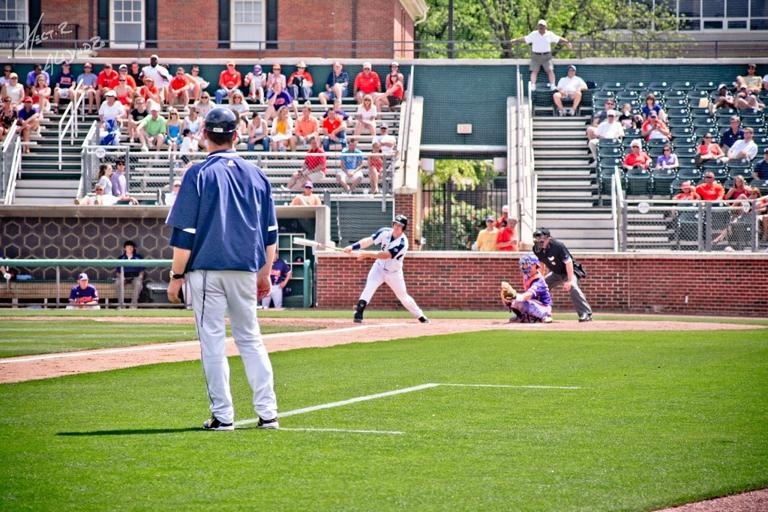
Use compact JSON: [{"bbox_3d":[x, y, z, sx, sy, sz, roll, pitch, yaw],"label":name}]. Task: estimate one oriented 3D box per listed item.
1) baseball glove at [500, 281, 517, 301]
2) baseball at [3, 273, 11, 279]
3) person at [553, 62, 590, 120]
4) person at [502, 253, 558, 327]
[{"bbox_3d":[3.450,1.018,45.757,0.255,0.537,0.459,-22,11,-2],"label":"baseball glove"},{"bbox_3d":[-11.149,0.630,48.922,0.225,0.085,0.226,6,5,42],"label":"baseball"},{"bbox_3d":[6.674,-5.749,58.643,0.900,2.142,1.132,1,0,8],"label":"person"},{"bbox_3d":[4.008,0.940,45.798,1.143,2.010,1.424,-2,-2,-28],"label":"person"}]
